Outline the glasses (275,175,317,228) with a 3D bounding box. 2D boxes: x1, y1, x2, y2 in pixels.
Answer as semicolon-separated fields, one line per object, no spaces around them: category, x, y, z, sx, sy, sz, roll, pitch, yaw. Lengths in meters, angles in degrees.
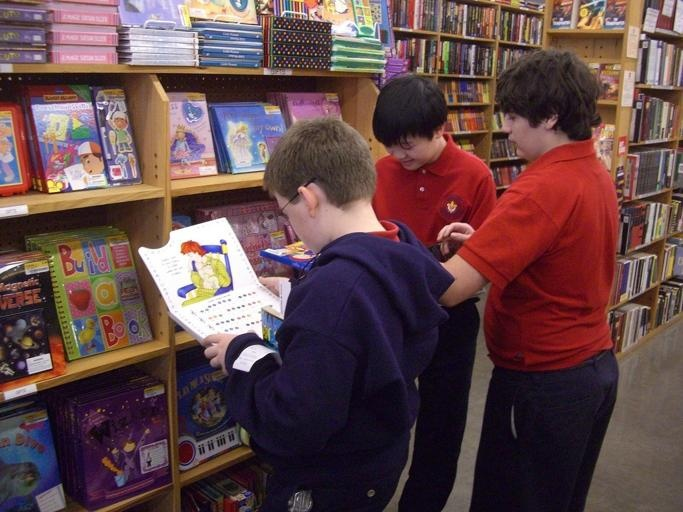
glasses;-0.116;-0.150;1.273;0.035;0.127;0.125;26;10;1
